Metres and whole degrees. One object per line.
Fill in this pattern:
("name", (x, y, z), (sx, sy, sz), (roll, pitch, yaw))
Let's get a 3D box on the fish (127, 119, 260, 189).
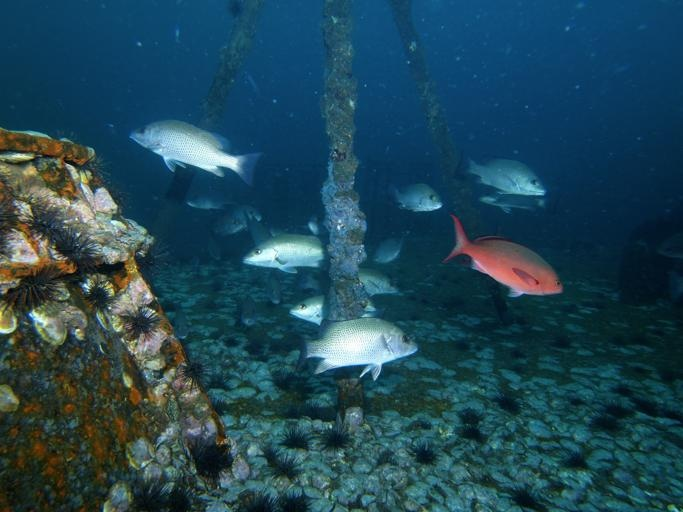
("fish", (-2.284, -1.618, 9.558), (2.008, 0.818, 0.546), (18, 31, -1))
